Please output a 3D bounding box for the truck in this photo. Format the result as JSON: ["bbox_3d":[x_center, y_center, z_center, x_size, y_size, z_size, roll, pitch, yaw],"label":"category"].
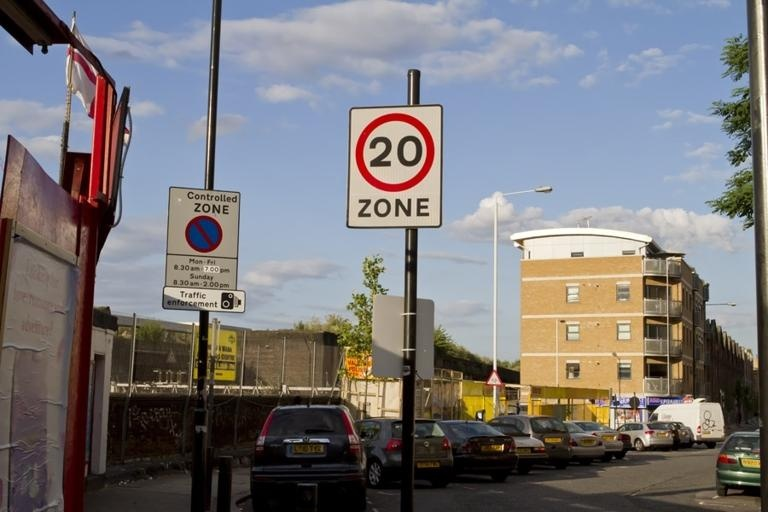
[{"bbox_3d":[16.628,9.059,51.207,2.407,2.631,4.957,5,-7,-34],"label":"truck"}]

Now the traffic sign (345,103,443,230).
[{"bbox_3d":[0.128,-1.055,10.948,1.110,1.463,0.223,-2,-12,5],"label":"traffic sign"}]

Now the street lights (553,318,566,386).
[{"bbox_3d":[13.386,7.296,71.669,0.794,4.894,0.509,-6,-13,24],"label":"street lights"}]
